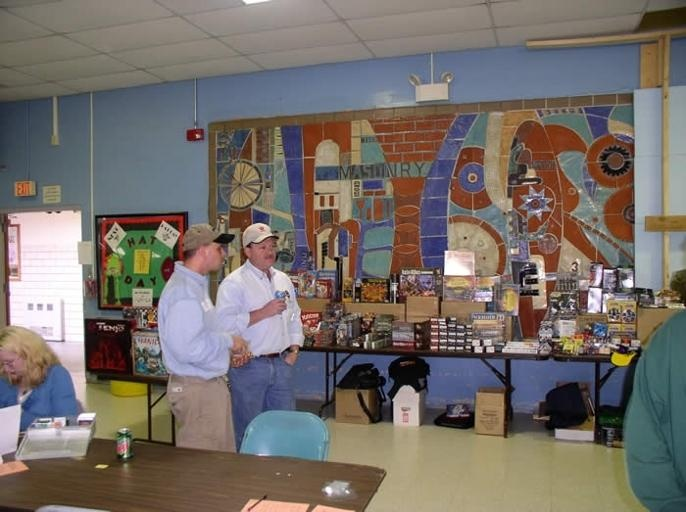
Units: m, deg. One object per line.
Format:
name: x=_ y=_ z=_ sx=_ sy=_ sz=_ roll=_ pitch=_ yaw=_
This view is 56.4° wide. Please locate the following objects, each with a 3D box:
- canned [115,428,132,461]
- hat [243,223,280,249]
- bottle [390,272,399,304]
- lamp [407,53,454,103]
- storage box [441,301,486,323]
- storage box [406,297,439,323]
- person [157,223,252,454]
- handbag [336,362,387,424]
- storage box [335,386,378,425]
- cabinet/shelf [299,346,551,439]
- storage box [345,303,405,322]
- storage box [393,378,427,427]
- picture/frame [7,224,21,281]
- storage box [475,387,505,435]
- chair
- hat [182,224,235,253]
canned: x=-1.410 y=1.203 z=4.100 sx=0.136 sy=0.178 sz=0.140 roll=-1 pitch=0 yaw=41
hat: x=-0.719 y=-0.174 z=5.514 sx=0.279 sy=0.148 sz=0.210 roll=-18 pitch=-4 yaw=43
bottle: x=0.604 y=0.383 z=7.552 sx=0.117 sy=0.323 sz=0.084 roll=-2 pitch=8 yaw=3
lamp: x=1.024 y=-2.112 z=7.563 sx=0.517 sy=0.616 sz=0.204 roll=-2 pitch=2 yaw=15
storage box: x=1.338 y=0.629 z=7.191 sx=0.514 sy=0.209 sz=0.348 roll=-1 pitch=9 yaw=9
storage box: x=0.898 y=0.584 z=7.431 sx=0.462 sy=0.440 sz=0.257 roll=-1 pitch=-3 yaw=15
person: x=-1.064 y=0.683 z=4.832 sx=0.633 sy=1.804 sz=0.478 roll=-4 pitch=8 yaw=-11
handbag: x=0.152 y=1.602 z=7.469 sx=0.574 sy=0.587 sz=0.630 roll=-2 pitch=-5 yaw=7
storage box: x=0.121 y=1.697 z=7.198 sx=0.414 sy=0.319 sz=0.412 roll=0 pitch=-2 yaw=11
cabinet/shelf: x=1.265 y=1.750 z=8.052 sx=2.672 sy=0.695 sz=0.864 roll=1 pitch=44 yaw=10
storage box: x=0.354 y=0.649 z=7.544 sx=0.715 sy=0.174 sz=0.107 roll=0 pitch=9 yaw=14
storage box: x=0.715 y=1.680 z=7.264 sx=0.379 sy=0.392 sz=0.555 roll=1 pitch=-3 yaw=18
picture/frame: x=-6.649 y=-0.066 z=12.938 sx=0.300 sy=1.099 sz=0.241 roll=6 pitch=11 yaw=43
storage box: x=1.551 y=1.676 z=7.002 sx=0.397 sy=0.564 sz=0.397 roll=1 pitch=-2 yaw=14
chair: x=-0.386 y=1.120 z=4.276 sx=0.392 sy=0.536 sz=0.390 roll=0 pitch=-3 yaw=8
hat: x=-1.044 y=-0.146 z=4.915 sx=0.331 sy=0.165 sz=0.208 roll=-8 pitch=12 yaw=-16
